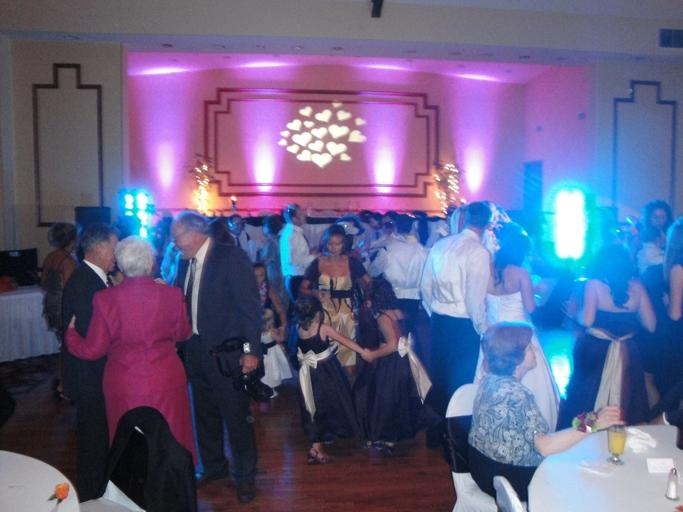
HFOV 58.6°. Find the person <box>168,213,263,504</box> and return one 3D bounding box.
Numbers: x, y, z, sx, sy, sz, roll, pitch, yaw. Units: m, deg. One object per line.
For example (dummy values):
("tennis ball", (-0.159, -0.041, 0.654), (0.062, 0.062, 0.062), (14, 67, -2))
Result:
("person", (-0.879, 0.719, 4.402), (0.640, 2.075, 0.451), (1, 14, 5))

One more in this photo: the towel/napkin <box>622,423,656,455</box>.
("towel/napkin", (1.751, 1.085, 3.591), (0.157, 0.054, 0.136), (3, 21, 17))

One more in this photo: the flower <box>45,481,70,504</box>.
("flower", (-1.454, 1.213, 3.160), (0.119, 0.093, 0.100), (5, 15, 18))

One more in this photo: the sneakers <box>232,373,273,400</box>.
("sneakers", (-0.616, 0.907, 4.226), (0.235, 0.102, 0.150), (21, 14, 24))

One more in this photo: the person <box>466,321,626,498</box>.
("person", (1.302, 0.987, 3.888), (0.562, 1.085, 0.736), (-12, 12, -22))
